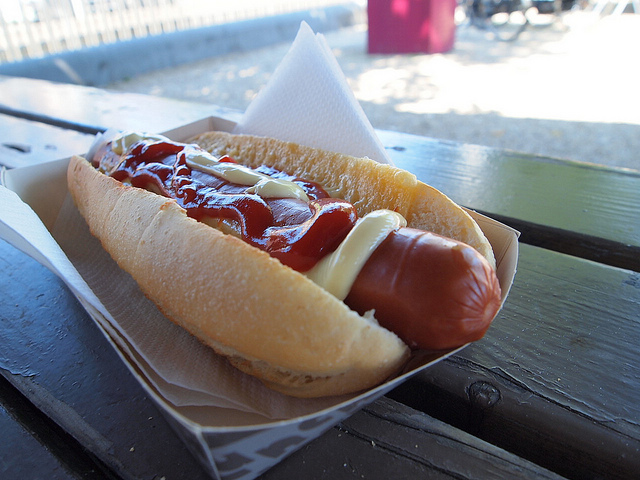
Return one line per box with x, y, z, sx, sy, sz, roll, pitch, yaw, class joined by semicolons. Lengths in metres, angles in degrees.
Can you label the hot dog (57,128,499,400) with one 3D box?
-0.178;-0.024;1.186;1.187;0.345;0.584;25;35;33;hot dog
